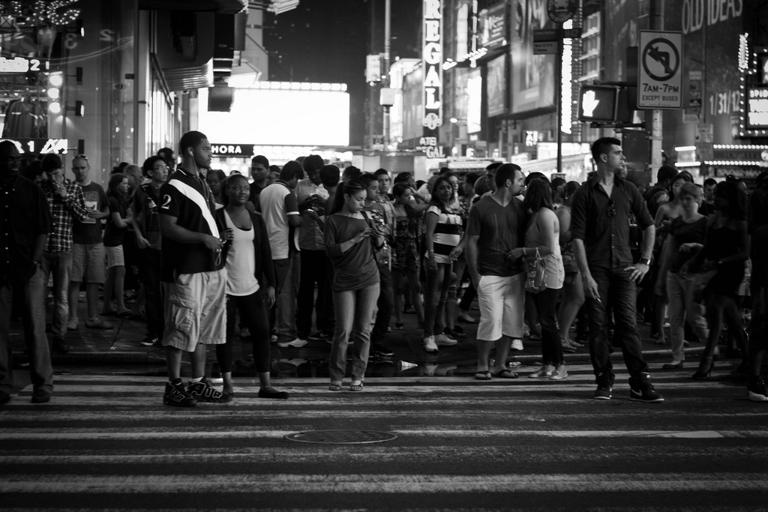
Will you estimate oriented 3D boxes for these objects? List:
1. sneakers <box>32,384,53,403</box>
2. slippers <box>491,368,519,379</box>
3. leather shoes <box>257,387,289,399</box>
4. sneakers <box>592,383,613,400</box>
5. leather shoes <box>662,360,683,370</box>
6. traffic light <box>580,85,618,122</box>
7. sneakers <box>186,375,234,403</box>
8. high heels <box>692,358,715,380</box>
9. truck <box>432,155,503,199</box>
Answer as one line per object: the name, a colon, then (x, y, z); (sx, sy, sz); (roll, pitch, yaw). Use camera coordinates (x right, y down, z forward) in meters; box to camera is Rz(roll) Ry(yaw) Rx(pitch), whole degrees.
sneakers: (-3.899, 1.544, 11.062); (0.213, 0.199, 0.290); (0, 1, -14)
slippers: (1.611, 1.546, 12.887); (0.268, 0.080, 0.151); (-2, -2, 30)
leather shoes: (-1.305, 1.606, 11.478); (0.361, 0.139, 0.127); (-1, -2, 6)
sneakers: (2.613, 1.605, 11.565); (0.137, 0.161, 0.368); (-1, -9, 14)
leather shoes: (4.024, 1.513, 13.521); (0.347, 0.142, 0.114); (2, -6, -31)
traffic light: (4.402, -3.136, 20.116); (0.826, 0.762, 0.657); (3, 5, 1)
sneakers: (-1.967, 1.535, 11.245); (0.612, 0.271, 0.229); (5, 3, -12)
high heels: (4.233, 1.493, 12.794); (0.443, 0.197, 0.145); (-11, -10, -40)
truck: (6.221, -5.460, 65.866); (2.790, 2.931, 4.340); (-4, 5, 17)
